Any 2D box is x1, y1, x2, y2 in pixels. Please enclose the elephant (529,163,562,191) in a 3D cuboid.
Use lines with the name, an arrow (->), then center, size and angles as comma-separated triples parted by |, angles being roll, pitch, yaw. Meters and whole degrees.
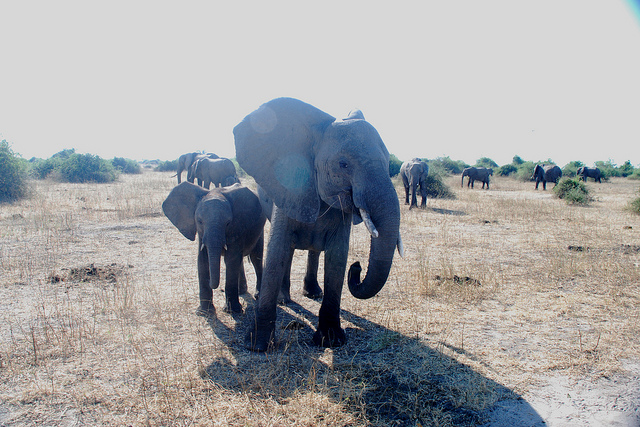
elephant -> 12.218, -2.030, 36.181 | 2.292, 1.539, 1.440 | 2, 2, 15

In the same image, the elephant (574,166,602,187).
elephant -> 17.108, -2.513, 41.638 | 1.247, 0.938, 2.525 | 4, 9, 13

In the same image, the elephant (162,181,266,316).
elephant -> -2.063, 0.497, 13.024 | 1.743, 2.419, 2.848 | -1, 11, 0

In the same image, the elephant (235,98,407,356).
elephant -> -0.267, 0.271, 12.107 | 2.813, 4.401, 4.542 | 1, -3, -35
